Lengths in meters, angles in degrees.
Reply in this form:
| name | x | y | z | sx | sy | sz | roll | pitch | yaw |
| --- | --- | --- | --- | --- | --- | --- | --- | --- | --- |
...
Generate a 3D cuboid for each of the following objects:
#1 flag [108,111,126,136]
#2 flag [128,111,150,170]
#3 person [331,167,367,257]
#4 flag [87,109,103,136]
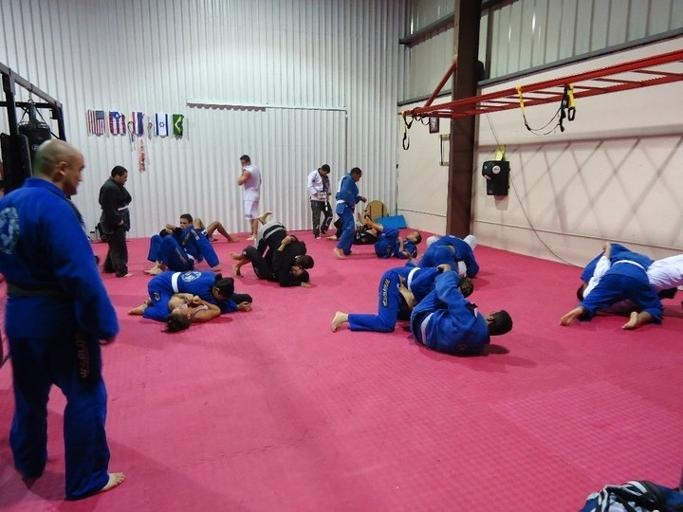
| name | x | y | z | sx | sy | sz | roll | pitch | yaw |
| --- | --- | --- | --- | --- | --- | --- | --- | --- | --- |
| flag | -4.697 | -2.769 | 9.655 | 0.308 | 0.461 | 0.462 | -3 | 55 | -13 |
| flag | -4.291 | -2.435 | 9.828 | 0.464 | 1.259 | 0.088 | -4 | 14 | -14 |
| person | 0.159 | -0.793 | 8.450 | 0.501 | 1.648 | 0.633 | 5 | 6 | 7 |
| flag | -5.078 | -2.757 | 9.511 | 0.347 | 0.507 | 0.041 | -6 | 15 | -21 |
